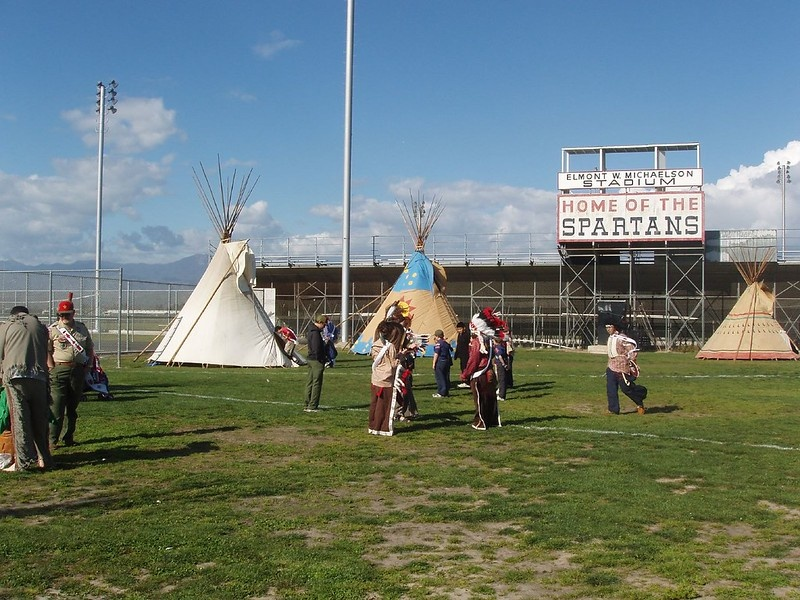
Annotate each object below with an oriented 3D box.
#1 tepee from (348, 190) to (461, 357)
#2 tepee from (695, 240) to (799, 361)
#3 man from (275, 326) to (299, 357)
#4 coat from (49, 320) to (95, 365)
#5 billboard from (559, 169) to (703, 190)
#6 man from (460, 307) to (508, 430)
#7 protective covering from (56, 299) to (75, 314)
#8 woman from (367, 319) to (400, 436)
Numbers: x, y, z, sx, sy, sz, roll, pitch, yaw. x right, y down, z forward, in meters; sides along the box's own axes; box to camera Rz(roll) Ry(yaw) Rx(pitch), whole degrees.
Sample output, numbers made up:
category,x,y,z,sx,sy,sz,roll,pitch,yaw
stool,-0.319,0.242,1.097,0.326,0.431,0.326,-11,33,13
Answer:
category,x,y,z,sx,sy,sz,roll,pitch,yaw
tepee,1.155,-0.570,28.476,4.711,5.560,5.122,1,0,-16
tepee,14.089,-0.165,31.451,3.332,4.148,10.079,3,5,28
man,-3.185,1.119,22.605,0.355,0.872,0.657,-19,52,-25
coat,-4.466,0.592,10.821,0.532,0.615,0.478,-2,5,-24
billboard,9.896,-5.191,34.305,5.862,0.911,1.718,1,5,9
man,1.329,1.085,12.759,0.598,1.849,1.108,1,5,7
protective covering,-4.580,0.094,10.897,0.246,0.172,0.316,0,1,-22
woman,-0.238,1.173,11.997,0.471,1.680,0.612,1,5,3
